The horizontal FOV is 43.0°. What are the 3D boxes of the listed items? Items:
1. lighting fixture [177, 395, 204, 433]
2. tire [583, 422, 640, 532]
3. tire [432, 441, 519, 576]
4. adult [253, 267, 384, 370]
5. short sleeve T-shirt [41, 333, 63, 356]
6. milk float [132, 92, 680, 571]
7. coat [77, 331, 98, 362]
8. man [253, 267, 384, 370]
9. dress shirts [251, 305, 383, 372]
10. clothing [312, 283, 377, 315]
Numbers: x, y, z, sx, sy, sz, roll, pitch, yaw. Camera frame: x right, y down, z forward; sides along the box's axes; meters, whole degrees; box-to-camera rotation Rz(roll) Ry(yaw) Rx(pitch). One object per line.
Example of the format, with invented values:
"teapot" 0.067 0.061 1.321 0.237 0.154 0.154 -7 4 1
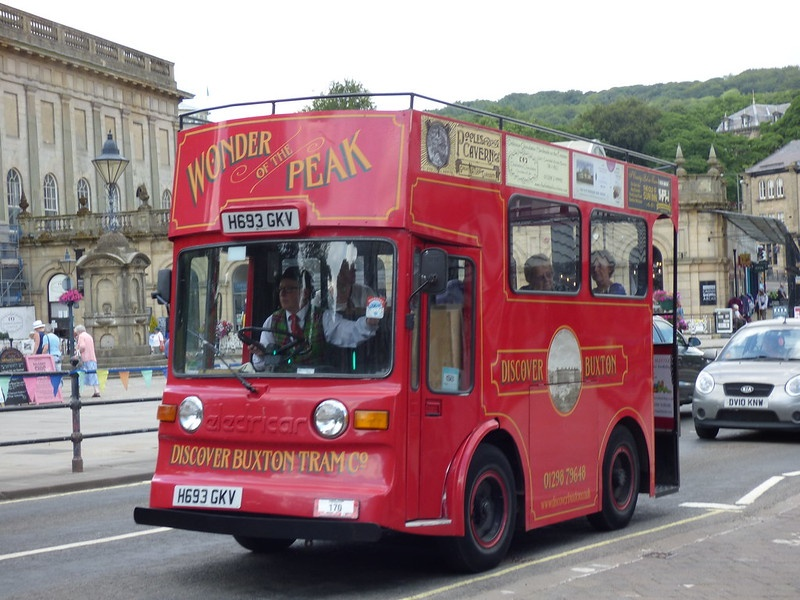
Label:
"lighting fixture" -1.808 0.979 8.737 0.196 0.319 0.067 1 -4 13
"tire" 2.127 1.829 10.414 0.354 1.251 1.023 -1 -2 24
"tire" 0.610 1.798 8.713 0.297 1.243 0.994 -3 -4 38
"adult" -0.727 0.246 8.539 1.046 1.177 0.686 -8 -36 -5
"short sleeve T-shirt" -10.242 1.316 29.743 0.521 0.646 1.252 -1 0 -21
"milk float" 0.767 0.441 10.597 2.445 3.905 5.279 -3 -4 41
"coat" -8.754 1.290 28.249 0.421 0.826 1.020 -1 0 -20
"man" -0.731 0.195 8.529 1.013 1.207 0.604 -1 26 4
"dress shirts" -0.749 0.311 8.461 1.146 0.578 0.219 0 1 23
"clothing" -0.456 0.003 8.381 0.341 0.151 0.285 3 35 0
